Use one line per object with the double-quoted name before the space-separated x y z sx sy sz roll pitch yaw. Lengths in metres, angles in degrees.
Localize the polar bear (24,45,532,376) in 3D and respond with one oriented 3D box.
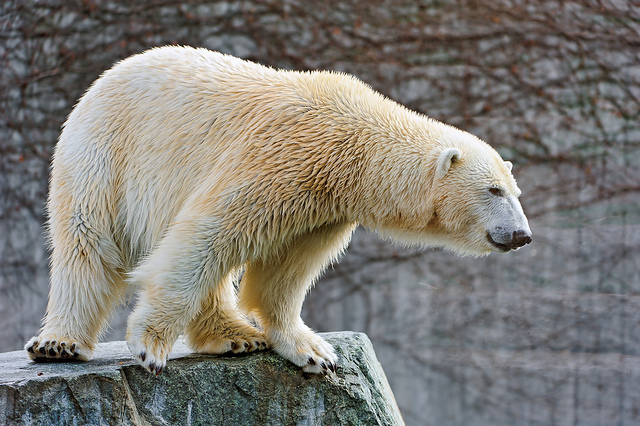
"polar bear" -0.330 0.034 7.556 3.758 1.695 2.219 1 84 18
